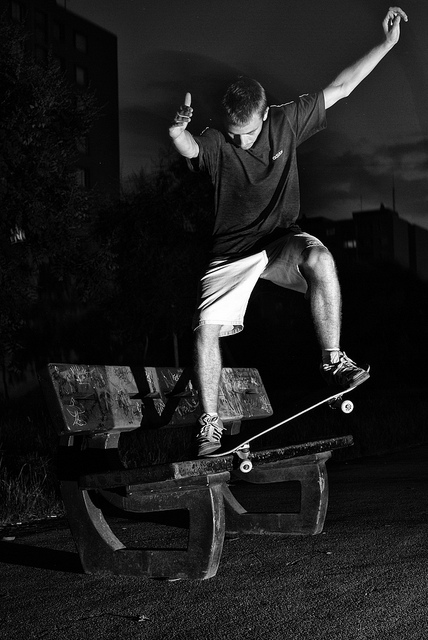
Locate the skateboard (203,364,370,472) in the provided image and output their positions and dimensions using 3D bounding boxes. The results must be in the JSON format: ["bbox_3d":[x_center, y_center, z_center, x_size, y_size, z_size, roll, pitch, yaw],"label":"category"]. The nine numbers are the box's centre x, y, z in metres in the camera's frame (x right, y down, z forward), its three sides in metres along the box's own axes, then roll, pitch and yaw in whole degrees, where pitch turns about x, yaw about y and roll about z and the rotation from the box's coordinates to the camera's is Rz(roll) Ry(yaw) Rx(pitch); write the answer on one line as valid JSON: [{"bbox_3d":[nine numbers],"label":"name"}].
[{"bbox_3d":[0.260,0.369,2.619,0.763,0.312,0.369,-8,13,-29],"label":"skateboard"}]

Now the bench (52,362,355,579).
[{"bbox_3d":[0.018,0.695,3.342,0.798,0.992,1.890,-8,-9,27],"label":"bench"}]

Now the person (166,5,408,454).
[{"bbox_3d":[0.307,-0.377,3.008,1.073,1.678,0.697,-6,12,-25],"label":"person"}]
